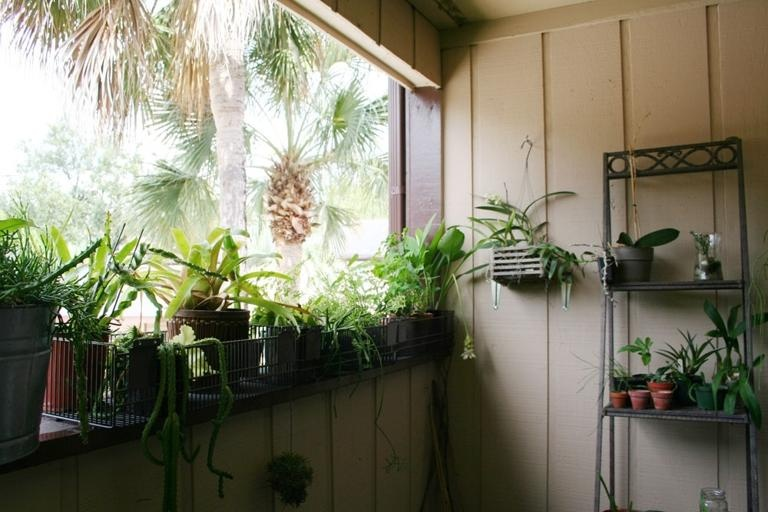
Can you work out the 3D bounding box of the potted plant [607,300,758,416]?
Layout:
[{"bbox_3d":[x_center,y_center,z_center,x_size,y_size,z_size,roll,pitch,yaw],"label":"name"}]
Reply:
[{"bbox_3d":[1.394,0.474,2.793,0.700,0.534,0.321,-4,-8,19],"label":"potted plant"}]

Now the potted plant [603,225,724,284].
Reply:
[{"bbox_3d":[1.231,-0.003,2.820,0.527,0.290,0.233,0,-6,14],"label":"potted plant"}]

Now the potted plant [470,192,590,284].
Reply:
[{"bbox_3d":[0.709,-0.101,3.118,0.473,0.404,0.484,0,-3,22],"label":"potted plant"}]
